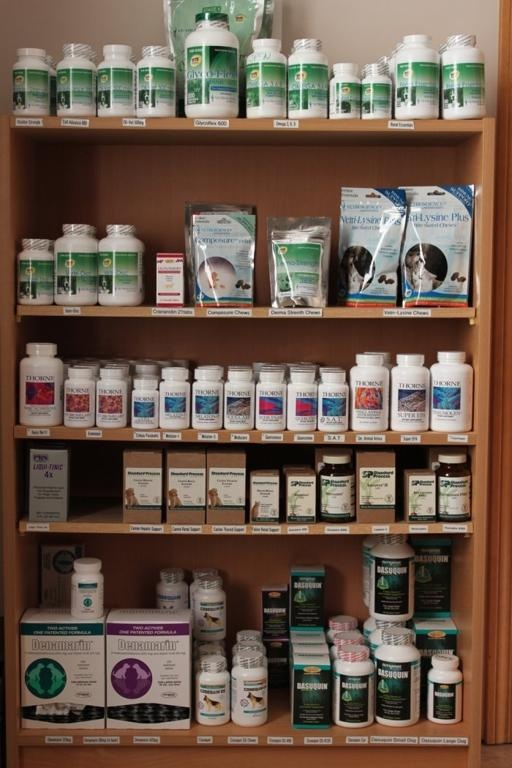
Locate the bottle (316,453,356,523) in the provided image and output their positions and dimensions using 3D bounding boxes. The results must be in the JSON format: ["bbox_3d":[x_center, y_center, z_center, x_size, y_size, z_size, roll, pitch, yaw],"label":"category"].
[{"bbox_3d":[0.224,0.280,1.947,0.126,0.170,0.128,-2,1,0],"label":"bottle"}]

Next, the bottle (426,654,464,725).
[{"bbox_3d":[0.502,0.814,1.924,0.094,0.170,0.063,-2,7,6],"label":"bottle"}]

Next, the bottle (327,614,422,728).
[{"bbox_3d":[0.313,0.781,1.893,0.230,0.263,0.097,-2,7,6],"label":"bottle"}]

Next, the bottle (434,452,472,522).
[{"bbox_3d":[0.518,0.274,1.900,0.090,0.172,0.064,-1,8,16],"label":"bottle"}]

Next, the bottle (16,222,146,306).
[{"bbox_3d":[-0.455,-0.301,1.860,0.254,0.184,0.090,0,4,1],"label":"bottle"}]

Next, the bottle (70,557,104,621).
[{"bbox_3d":[-0.450,0.545,1.938,0.089,0.146,0.089,1,2,0],"label":"bottle"}]

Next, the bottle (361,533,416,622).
[{"bbox_3d":[0.358,0.554,2.064,0.179,0.263,0.152,1,9,31],"label":"bottle"}]
